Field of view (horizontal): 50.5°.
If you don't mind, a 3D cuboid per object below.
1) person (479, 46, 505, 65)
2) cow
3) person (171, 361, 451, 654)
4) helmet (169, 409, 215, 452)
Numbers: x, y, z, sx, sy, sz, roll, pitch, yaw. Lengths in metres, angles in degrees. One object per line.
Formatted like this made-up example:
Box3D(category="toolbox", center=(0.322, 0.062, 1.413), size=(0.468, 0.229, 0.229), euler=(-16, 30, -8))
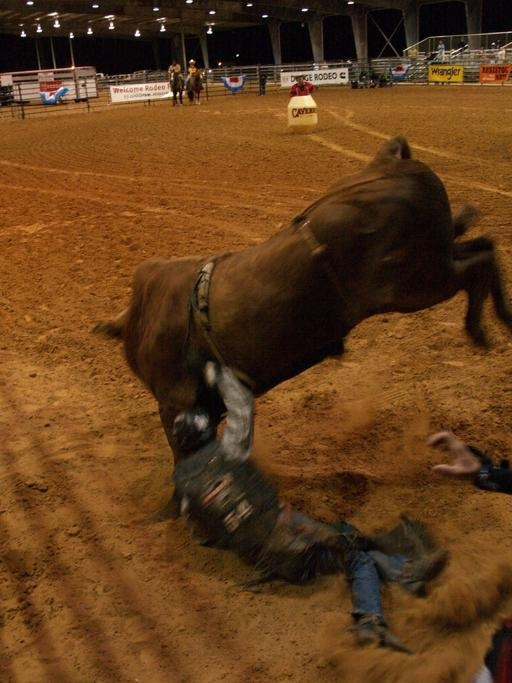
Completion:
Box3D(category="person", center=(11.100, -13.294, 25.395), size=(1.210, 0.500, 1.222), euler=(22, 56, 39))
Box3D(category="cow", center=(0.102, -0.173, 2.175), size=(1.553, 1.101, 0.777), euler=(-7, 11, 21))
Box3D(category="person", center=(0.145, 0.779, 2.466), size=(1.525, 0.729, 0.636), euler=(22, 28, 35))
Box3D(category="helmet", center=(-0.218, 0.334, 2.034), size=(0.175, 0.126, 0.107), euler=(-39, -17, -1))
